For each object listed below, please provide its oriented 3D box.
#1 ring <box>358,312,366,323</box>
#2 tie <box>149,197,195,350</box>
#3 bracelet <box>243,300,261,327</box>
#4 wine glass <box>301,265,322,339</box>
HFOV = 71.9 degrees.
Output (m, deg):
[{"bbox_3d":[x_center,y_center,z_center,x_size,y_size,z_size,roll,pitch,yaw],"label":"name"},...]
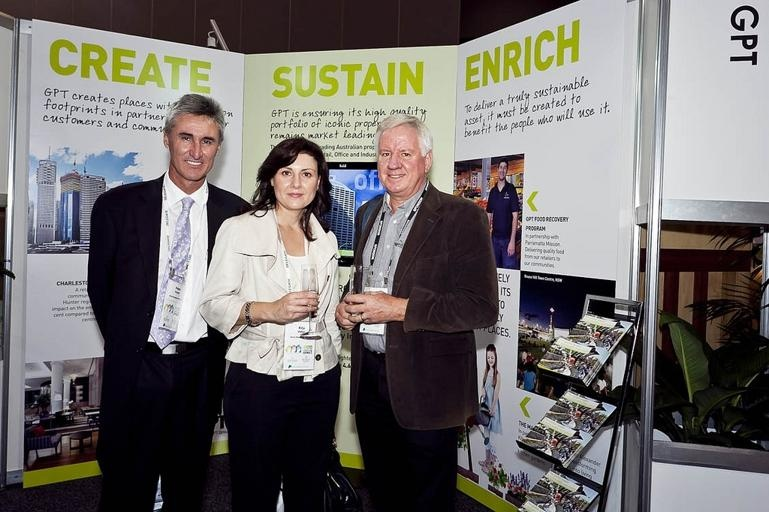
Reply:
[{"bbox_3d":[-0.121,0.324,2.771,0.031,0.048,0.019,2,7,8],"label":"ring"},{"bbox_3d":[-1.264,0.096,3.180,0.188,0.910,0.227,2,3,8],"label":"tie"},{"bbox_3d":[-0.698,0.312,2.787,0.049,0.113,0.090,0,7,-3],"label":"bracelet"},{"bbox_3d":[-0.388,0.245,2.813,0.104,0.399,0.202,1,3,-5],"label":"wine glass"}]
